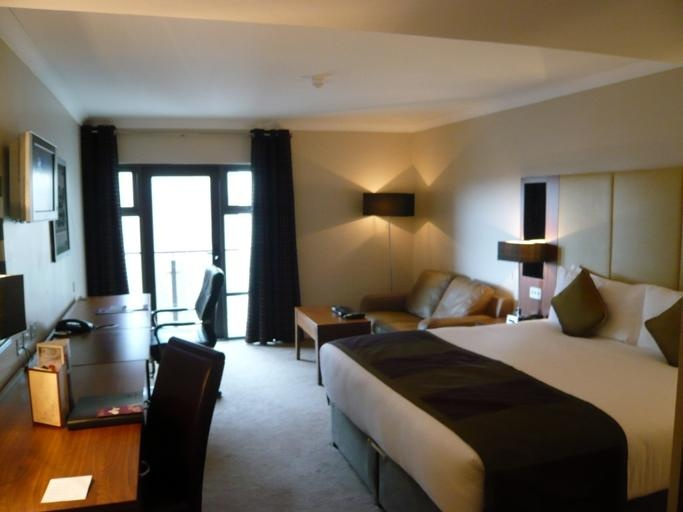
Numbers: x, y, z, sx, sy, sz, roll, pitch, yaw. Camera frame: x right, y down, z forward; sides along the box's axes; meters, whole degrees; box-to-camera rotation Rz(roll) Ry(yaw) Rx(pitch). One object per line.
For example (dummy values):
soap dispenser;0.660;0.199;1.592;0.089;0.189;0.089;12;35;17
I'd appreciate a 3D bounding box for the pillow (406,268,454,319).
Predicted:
pillow;0.996;0.428;6.171;0.214;0.524;0.504;20;2;-19

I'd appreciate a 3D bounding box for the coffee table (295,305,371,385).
coffee table;-0.100;0.635;5.581;0.566;0.739;1.077;-3;9;-20

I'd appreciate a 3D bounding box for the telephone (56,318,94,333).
telephone;-1.956;0.515;3.938;0.164;0.058;0.126;1;6;-19

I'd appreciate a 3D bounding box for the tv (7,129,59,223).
tv;-2.077;-0.513;3.604;0.165;0.606;0.767;-4;11;-18
